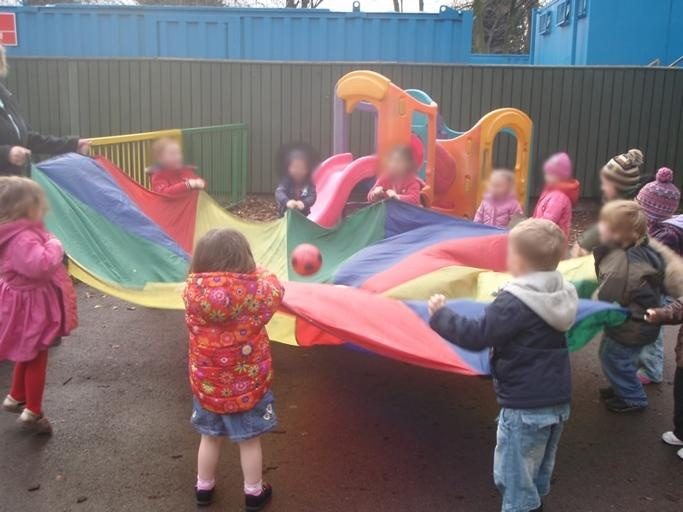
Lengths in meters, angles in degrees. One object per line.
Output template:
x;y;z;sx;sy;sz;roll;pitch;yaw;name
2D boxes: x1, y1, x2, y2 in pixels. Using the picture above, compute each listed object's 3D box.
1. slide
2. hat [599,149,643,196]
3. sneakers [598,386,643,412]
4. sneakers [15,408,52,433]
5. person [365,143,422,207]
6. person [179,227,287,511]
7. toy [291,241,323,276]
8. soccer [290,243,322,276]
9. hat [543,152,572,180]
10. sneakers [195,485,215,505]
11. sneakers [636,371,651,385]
-0.072;-0.741;6.468;0.779;0.664;0.985;-7;20;-20;slide
2.352;-0.695;5.107;0.239;0.372;0.324;-4;10;-23;hat
2.047;1.069;4.536;0.207;0.102;0.119;-3;3;16;sneakers
-2.007;1.114;4.111;0.118;0.132;0.266;26;-4;29;sneakers
0.513;-0.799;6.089;0.563;0.824;0.530;5;3;34;person
-0.594;0.661;3.501;0.540;1.566;0.419;-2;17;-7;person
-0.305;0.018;5.362;0.231;0.319;0.258;1;5;2;toy
-0.315;-0.001;5.433;0.233;0.314;0.249;-7;11;-28;soccer
1.996;-0.795;5.678;0.266;0.258;0.283;12;18;19;hat
-0.803;1.404;3.622;0.052;0.063;0.136;2;5;-3;sneakers
2.370;0.966;4.827;0.118;0.052;0.123;0;4;-26;sneakers
